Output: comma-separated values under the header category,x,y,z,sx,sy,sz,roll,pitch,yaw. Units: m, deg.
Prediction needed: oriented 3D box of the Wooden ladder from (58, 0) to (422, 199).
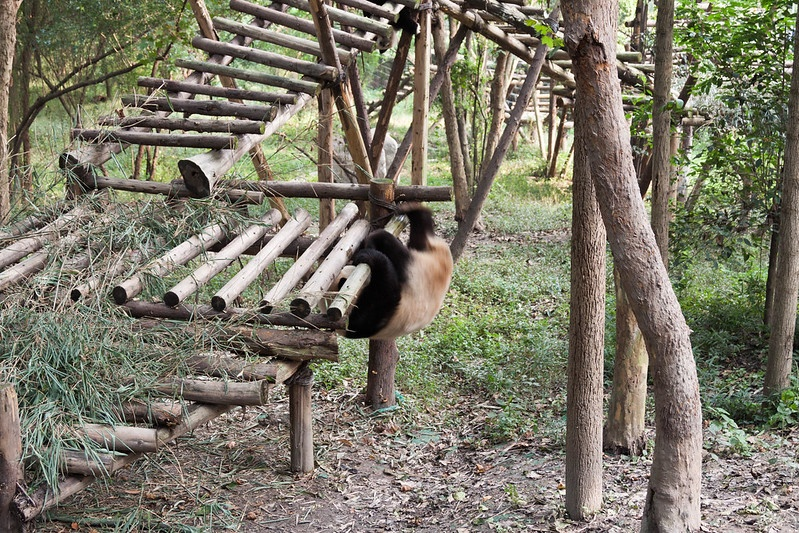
category,x,y,z,sx,sy,sz,roll,pitch,yaw
Wooden ladder,-1.760,-1.847,8.076,1.832,0.459,4.111,14,46,23

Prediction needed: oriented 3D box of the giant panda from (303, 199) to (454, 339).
category,x,y,z,sx,sy,sz,roll,pitch,yaw
giant panda,-0.018,0.089,6.971,0.957,0.876,1.324,21,56,42
